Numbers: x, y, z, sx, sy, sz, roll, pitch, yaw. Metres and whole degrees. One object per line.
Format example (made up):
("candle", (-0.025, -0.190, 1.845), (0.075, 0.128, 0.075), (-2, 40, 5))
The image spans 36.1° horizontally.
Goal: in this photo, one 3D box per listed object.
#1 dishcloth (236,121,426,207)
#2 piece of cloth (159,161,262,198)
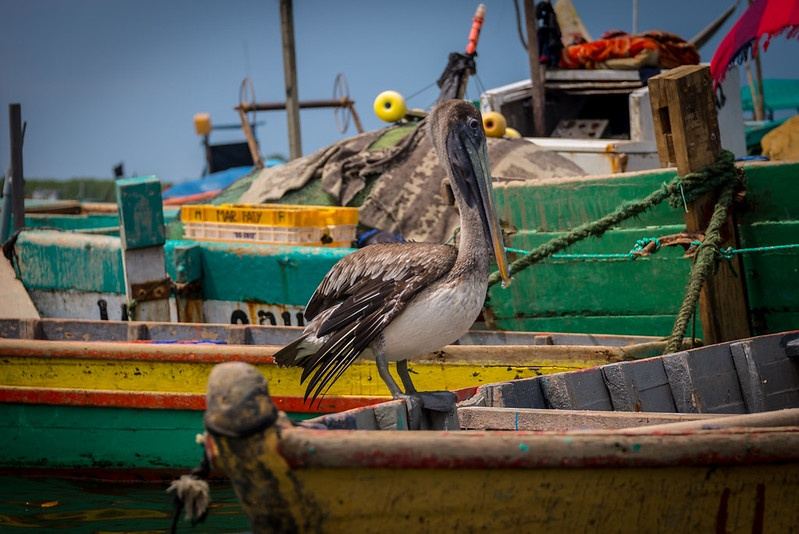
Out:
("dishcloth", (-0.913, -1.317, 16.699), (1.981, 0.374, 1.459), (-20, 20, 23))
("piece of cloth", (-3.163, -1.538, 22.202), (2.433, 0.242, 2.177), (-16, 4, -4))
